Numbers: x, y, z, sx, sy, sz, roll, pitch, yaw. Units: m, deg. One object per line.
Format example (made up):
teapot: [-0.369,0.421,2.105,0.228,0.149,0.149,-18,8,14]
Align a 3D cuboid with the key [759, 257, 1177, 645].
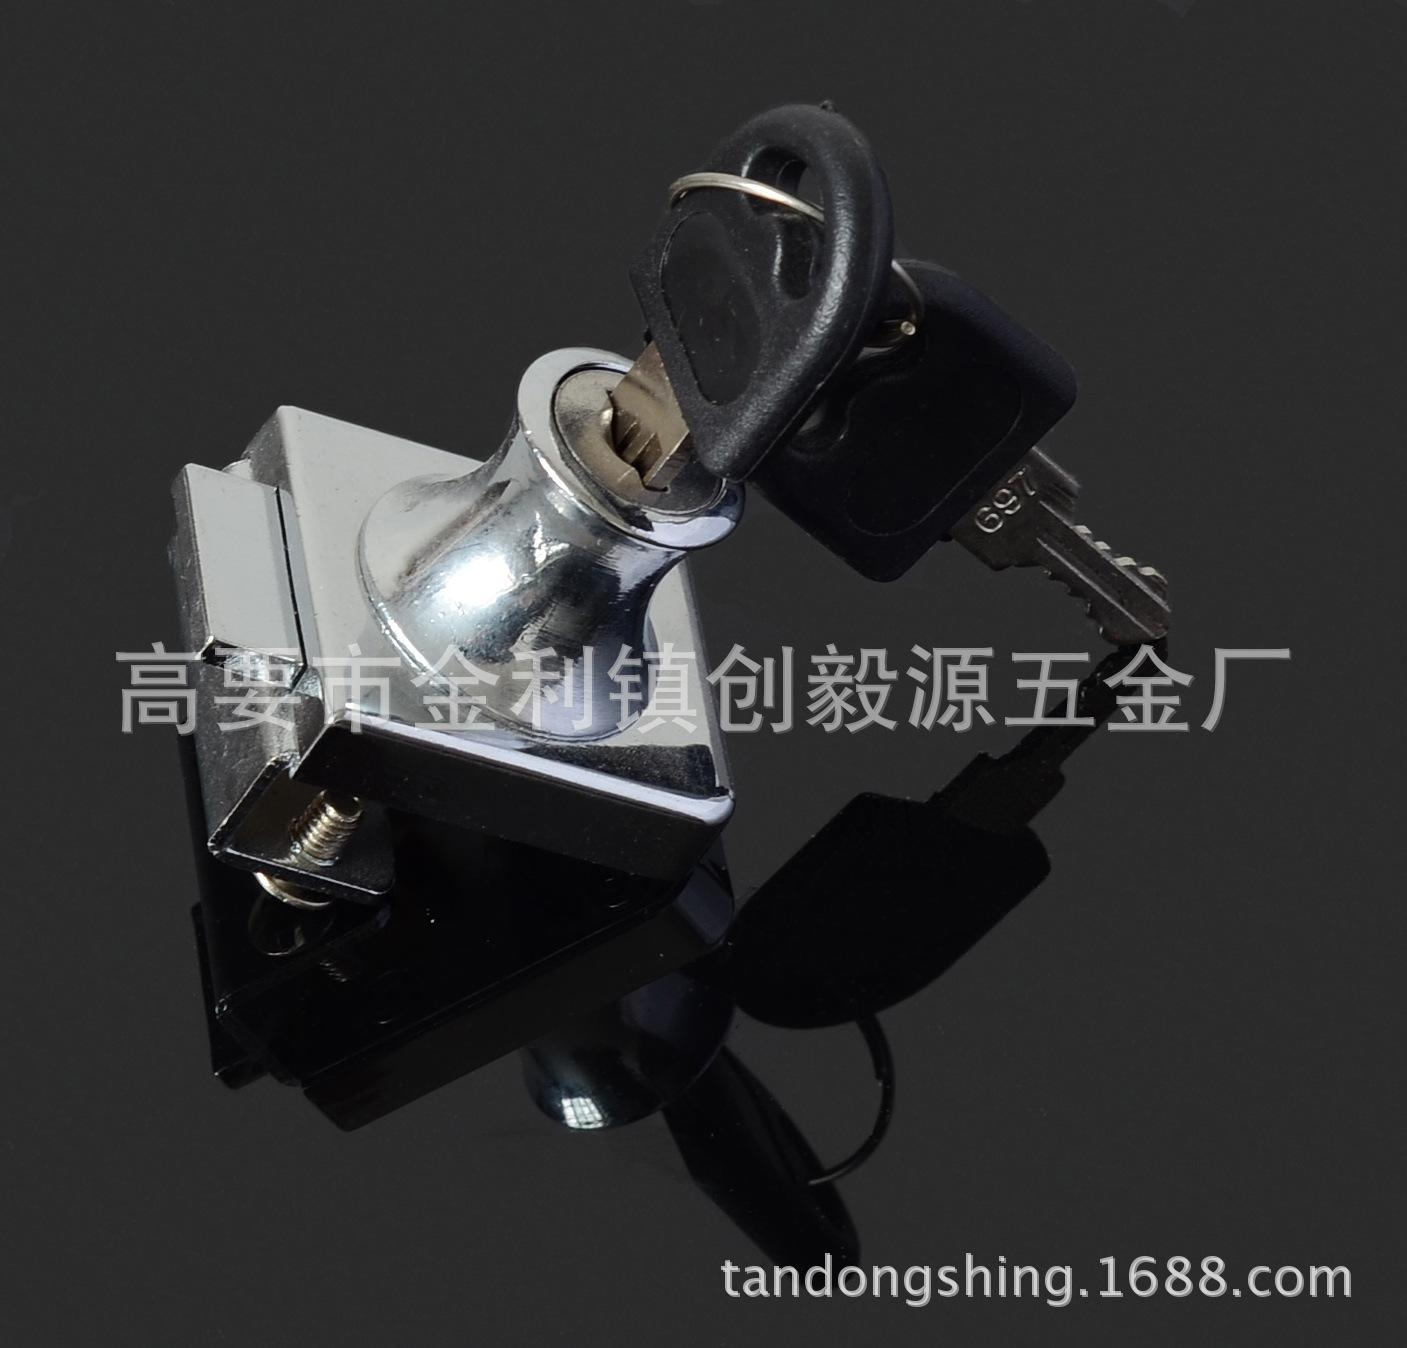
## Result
key: [0.235,-0.154,1.781,0.427,0.065,0.201,34,-77,-29]
